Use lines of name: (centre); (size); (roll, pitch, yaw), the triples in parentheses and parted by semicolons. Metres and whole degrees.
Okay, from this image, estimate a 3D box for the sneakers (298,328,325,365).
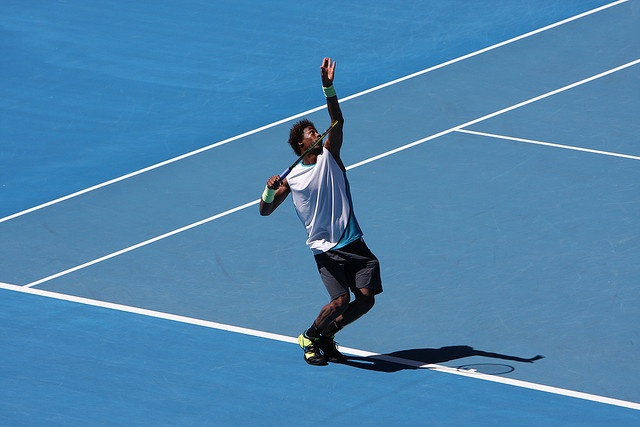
sneakers: (-0.062, 1.676, 12.685); (0.286, 0.563, 0.243); (-3, -53, -27)
